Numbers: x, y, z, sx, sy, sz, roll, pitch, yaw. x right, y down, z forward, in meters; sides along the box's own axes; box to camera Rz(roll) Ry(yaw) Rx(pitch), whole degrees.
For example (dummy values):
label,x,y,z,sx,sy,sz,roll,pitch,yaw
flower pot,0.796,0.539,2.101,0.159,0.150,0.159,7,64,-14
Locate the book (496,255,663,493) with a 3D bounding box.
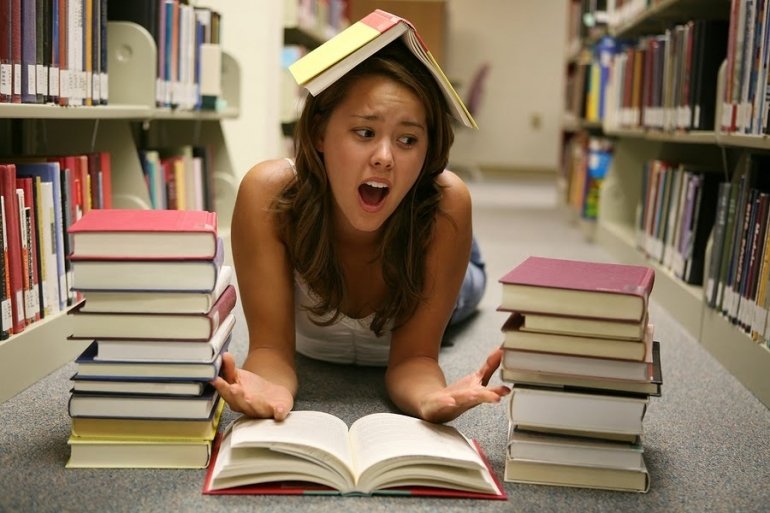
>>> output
label,x,y,z,sx,sy,sz,roll,pitch,yaw
book,0.401,0.225,1.745,0.431,0.602,0.419,1,10,10
